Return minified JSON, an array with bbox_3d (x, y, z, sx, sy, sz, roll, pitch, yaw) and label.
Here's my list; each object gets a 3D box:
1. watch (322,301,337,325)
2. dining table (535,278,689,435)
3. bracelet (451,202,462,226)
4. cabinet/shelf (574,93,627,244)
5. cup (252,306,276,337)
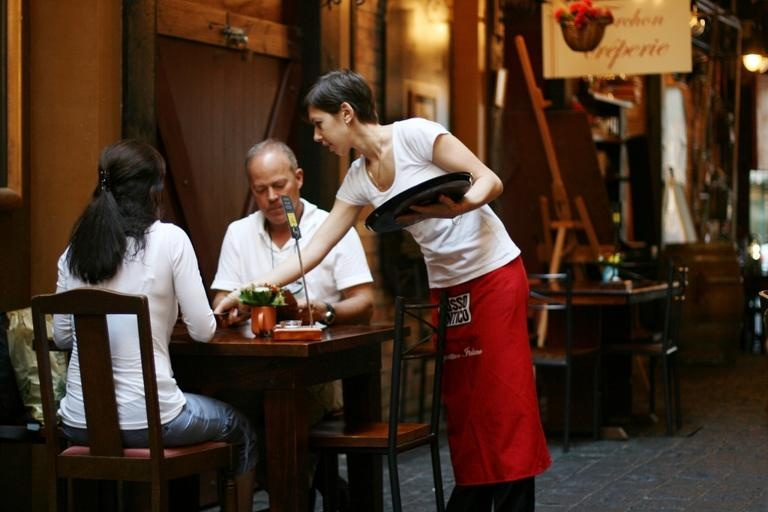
[{"bbox_3d":[-0.301,0.314,4.809,0.064,0.114,0.097,1,-2,-9],"label":"watch"},{"bbox_3d":[1.763,0.641,6.948,1.181,0.837,1.263,-1,2,5],"label":"dining table"},{"bbox_3d":[0.341,-0.205,4.289,0.082,0.097,0.052,0,7,-35],"label":"bracelet"},{"bbox_3d":[2.036,-0.816,7.983,0.255,1.258,0.642,-4,4,6],"label":"cabinet/shelf"},{"bbox_3d":[-0.623,0.327,4.587,0.092,0.147,0.156,2,4,4],"label":"cup"}]
